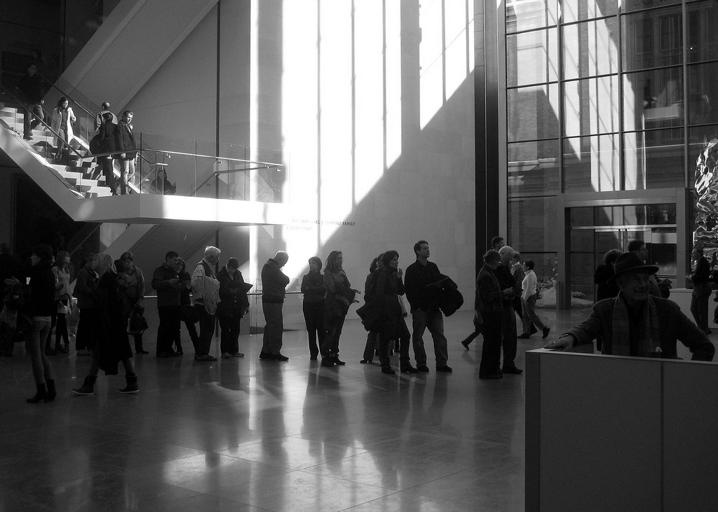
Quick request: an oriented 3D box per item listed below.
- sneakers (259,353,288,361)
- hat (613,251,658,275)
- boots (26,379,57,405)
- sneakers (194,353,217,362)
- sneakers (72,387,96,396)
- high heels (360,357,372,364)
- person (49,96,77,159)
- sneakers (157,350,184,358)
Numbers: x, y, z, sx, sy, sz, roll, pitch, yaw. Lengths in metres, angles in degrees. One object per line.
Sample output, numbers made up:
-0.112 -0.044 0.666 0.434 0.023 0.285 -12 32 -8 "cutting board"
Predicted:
-1.692 1.980 14.965 0.570 0.243 0.201 1 -2 4 "sneakers"
2.545 0.075 6.821 0.287 0.213 0.476 0 -1 36 "hat"
-4.524 1.987 10.930 0.532 0.388 0.209 2 1 8 "boots"
-3.061 2.019 14.901 0.462 0.195 0.161 1 -3 -1 "sneakers"
-4.158 2.050 11.394 0.338 0.165 0.113 9 0 -6 "sneakers"
0.133 2.045 14.542 0.229 0.103 0.087 4 -5 0 "high heels"
-7.964 -3.418 20.164 0.622 1.804 0.984 1 -1 -22 "person"
-3.899 2.035 15.503 0.549 0.229 0.171 -1 -1 -20 "sneakers"
